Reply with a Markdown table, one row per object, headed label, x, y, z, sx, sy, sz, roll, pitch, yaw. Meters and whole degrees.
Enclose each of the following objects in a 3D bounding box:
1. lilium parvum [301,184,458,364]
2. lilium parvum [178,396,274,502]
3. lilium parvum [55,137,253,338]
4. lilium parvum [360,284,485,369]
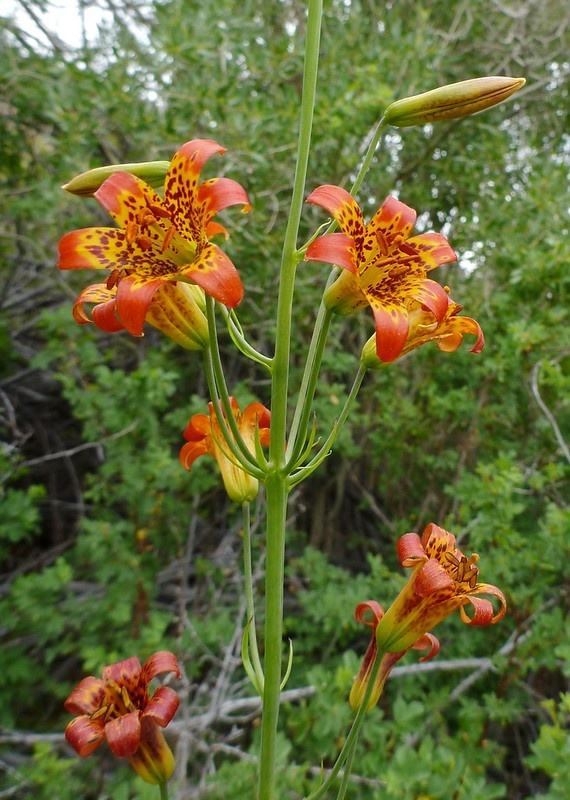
| label | x | y | z | sx | sy | sz | roll | pitch | yaw |
| --- | --- | --- | --- | --- | --- | --- | --- | --- | --- |
| lilium parvum | 0.157 | -0.217 | 1.208 | 0.304 | 0.276 | 0.203 | 13 | 16 | -13 |
| lilium parvum | -0.109 | 0.117 | 1.544 | 0.242 | 0.228 | 0.241 | -6 | 8 | -11 |
| lilium parvum | -0.220 | -0.271 | 1.205 | 0.326 | 0.386 | 0.237 | 15 | 16 | -5 |
| lilium parvum | 0.265 | -0.141 | 1.395 | 0.252 | 0.093 | 0.251 | 0 | 1 | -31 |
